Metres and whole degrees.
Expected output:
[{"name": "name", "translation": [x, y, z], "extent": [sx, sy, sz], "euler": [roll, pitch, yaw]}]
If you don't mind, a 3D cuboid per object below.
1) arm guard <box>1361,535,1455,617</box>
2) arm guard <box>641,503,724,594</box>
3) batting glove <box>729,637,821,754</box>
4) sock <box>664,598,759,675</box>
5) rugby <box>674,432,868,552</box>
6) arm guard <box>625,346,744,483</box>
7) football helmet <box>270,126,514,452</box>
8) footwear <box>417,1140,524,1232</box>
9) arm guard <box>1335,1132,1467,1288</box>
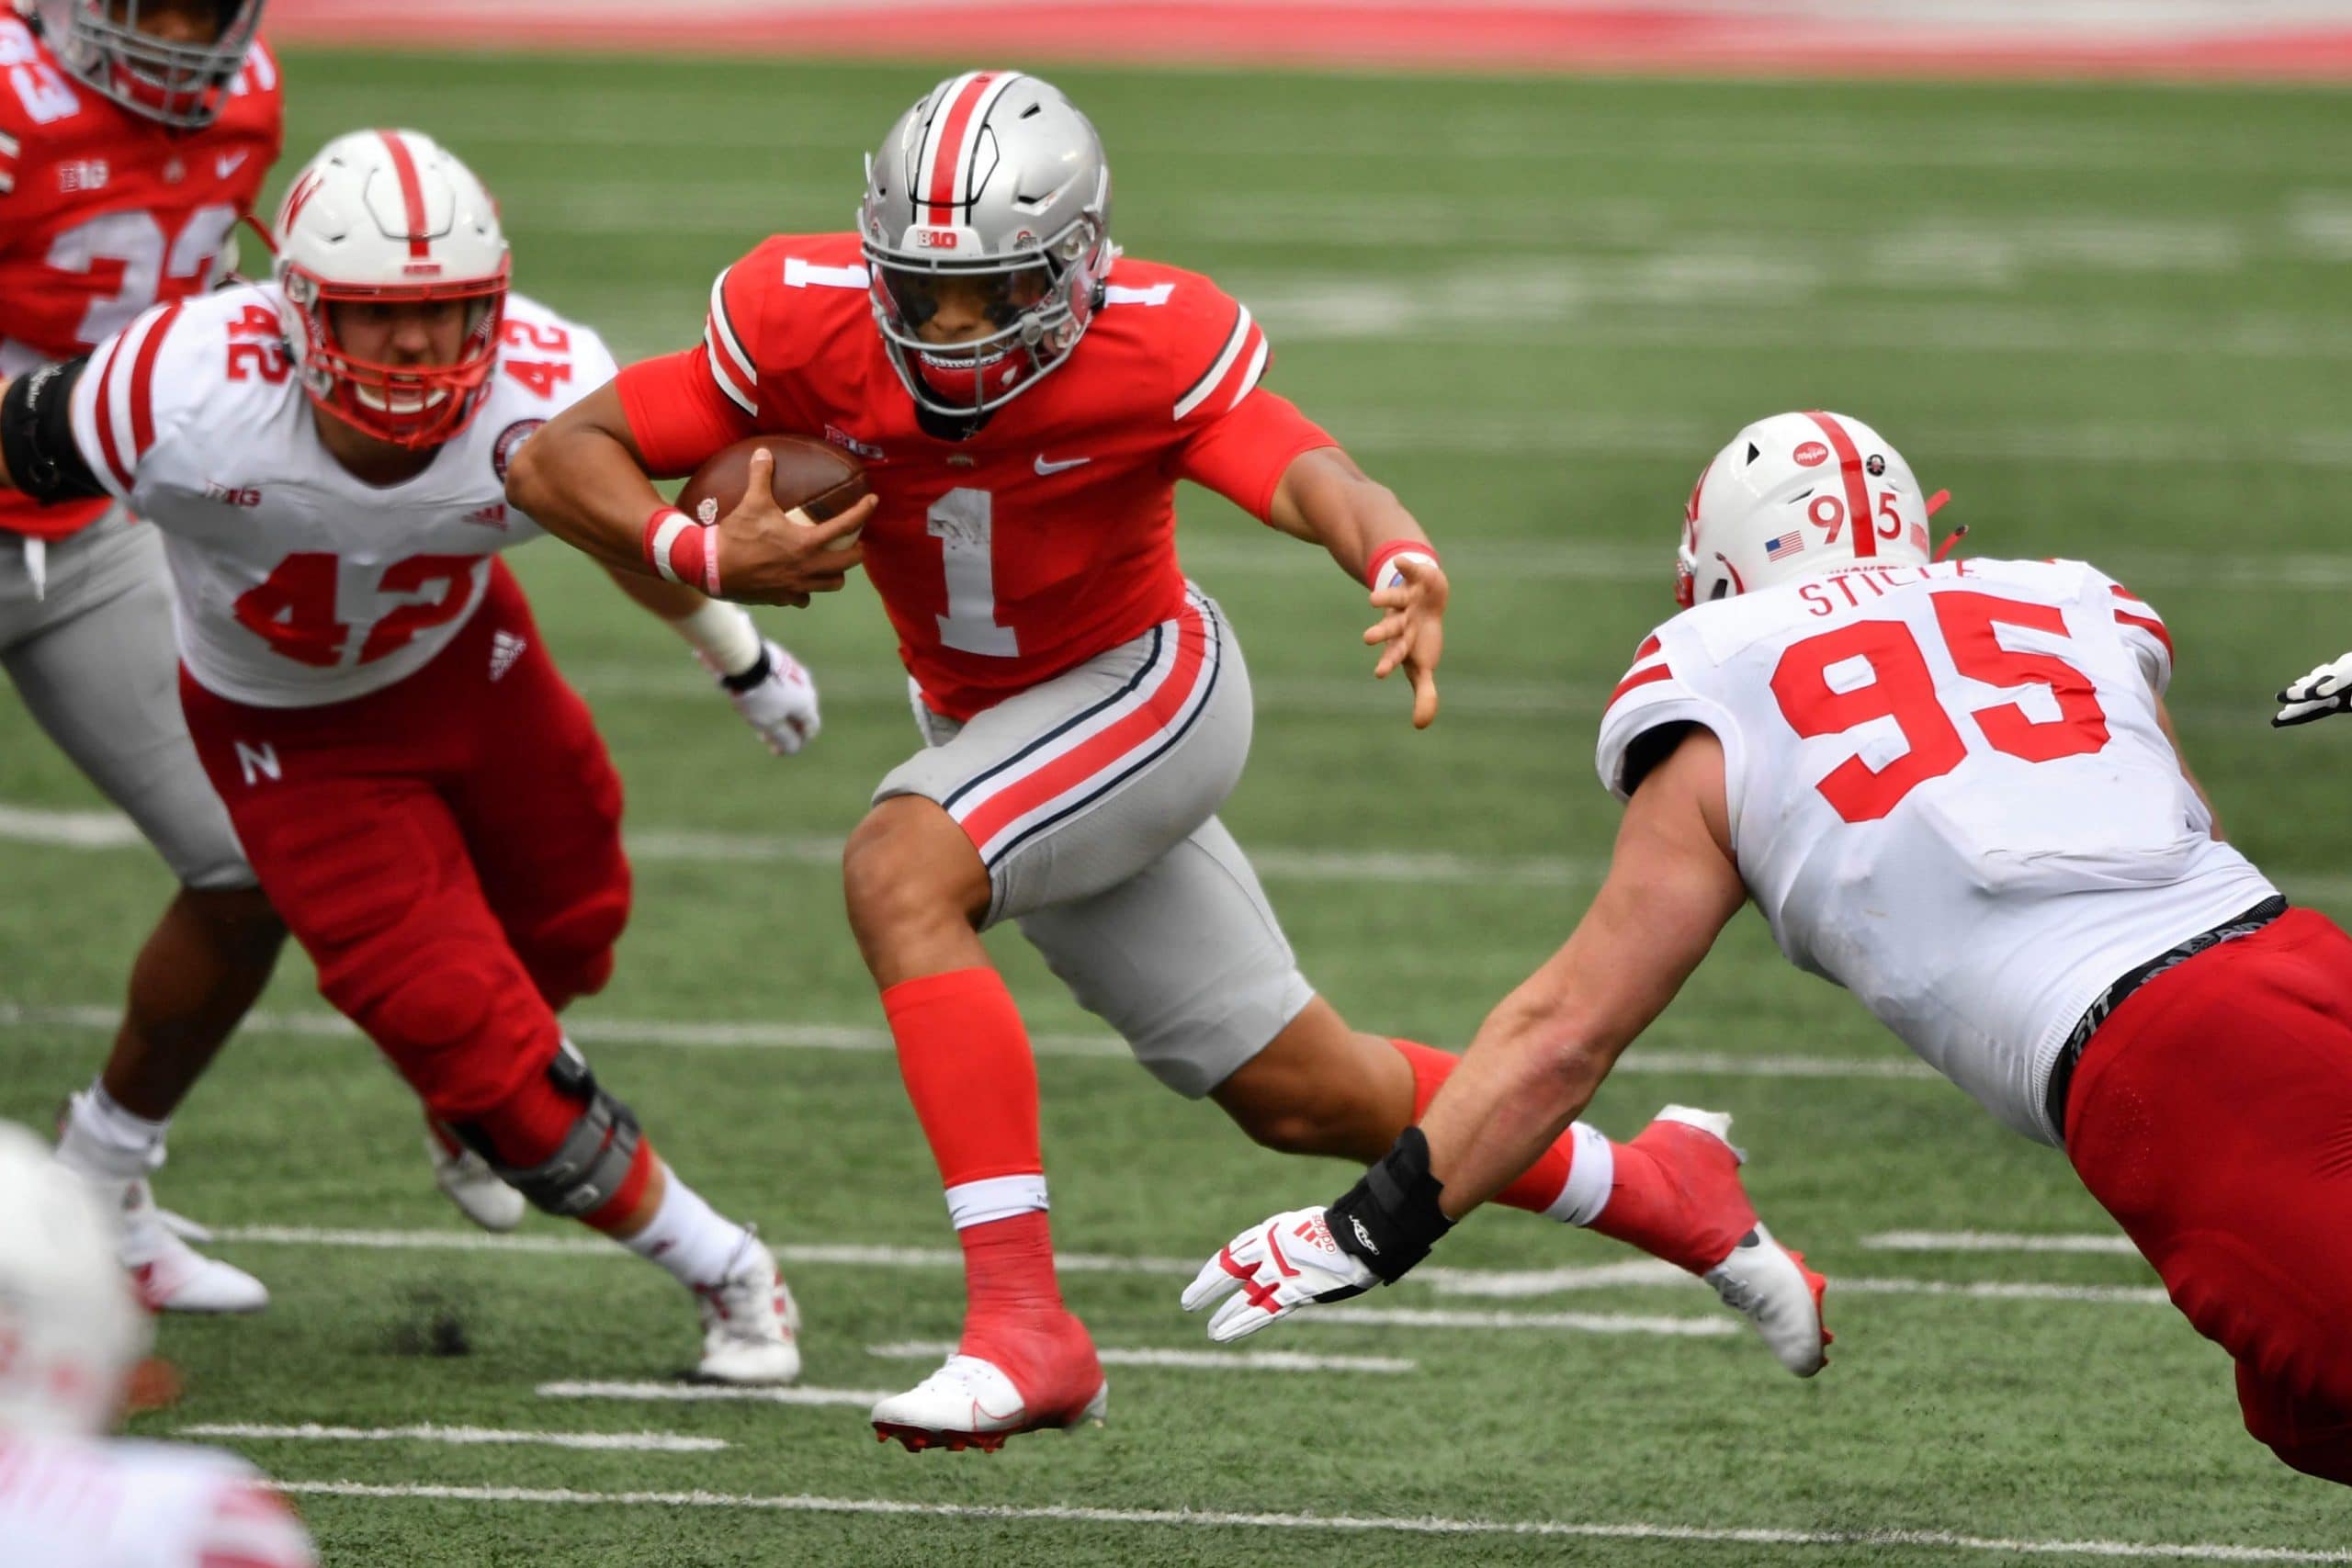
[{"name": "arm guard", "translation": [0.354, -0.314, 4.290], "extent": [0.100, 0.081, 0.081], "euler": [-21, 5, -38]}, {"name": "arm guard", "translation": [-0.771, -0.374, 4.466], "extent": [0.154, 0.061, 0.096], "euler": [15, 22, 8]}, {"name": "batting glove", "translation": [-0.767, -0.165, 5.465], "extent": [0.143, 0.224, 0.139], "euler": [-22, 7, -35]}, {"name": "sock", "translation": [-0.851, -0.276, 5.295], "extent": [0.104, 0.189, 0.078], "euler": [-13, 57, 27]}, {"name": "rugby", "translation": [-0.639, -0.454, 4.480], "extent": [0.243, 0.149, 0.157], "euler": [-11, 3, 30]}, {"name": "arm guard", "translation": [-0.797, -0.600, 4.564], "extent": [0.174, 0.101, 0.223], "euler": [-29, 21, -14]}, {"name": "football helmet", "translation": [-1.278, -0.811, 4.656], "extent": [0.350, 0.427, 0.300], "euler": [-8, 26, -13]}, {"name": "footwear", "translation": [-1.307, 0.732, 5.345], "extent": [0.258, 0.184, 0.091], "euler": [12, 19, 26]}, {"name": "arm guard", "translation": [0.320, 0.620, 4.150], "extent": [0.174, 0.219, 0.117], "euler": [53, 23, 17]}]
